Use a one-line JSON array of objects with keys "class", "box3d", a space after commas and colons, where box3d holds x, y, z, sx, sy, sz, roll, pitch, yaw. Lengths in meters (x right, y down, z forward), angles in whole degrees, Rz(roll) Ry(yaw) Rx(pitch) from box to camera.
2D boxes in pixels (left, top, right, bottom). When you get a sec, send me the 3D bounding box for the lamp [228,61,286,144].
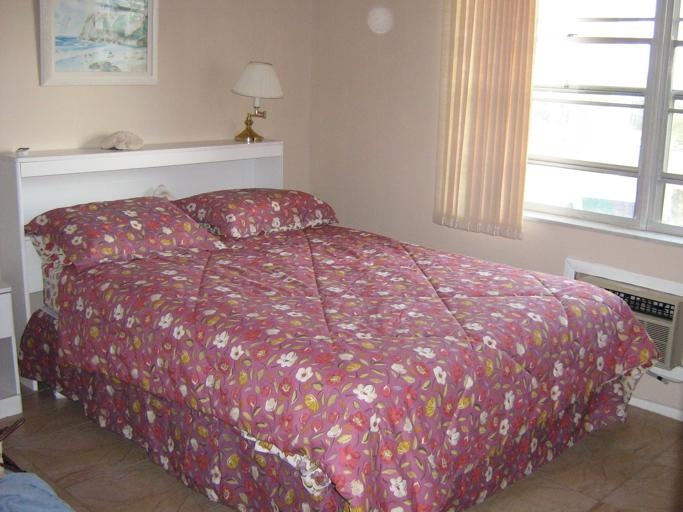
[{"class": "lamp", "box3d": [-0.646, -1.156, 4.008, 0.344, 0.564, 0.344, -9, 26, -41]}]
